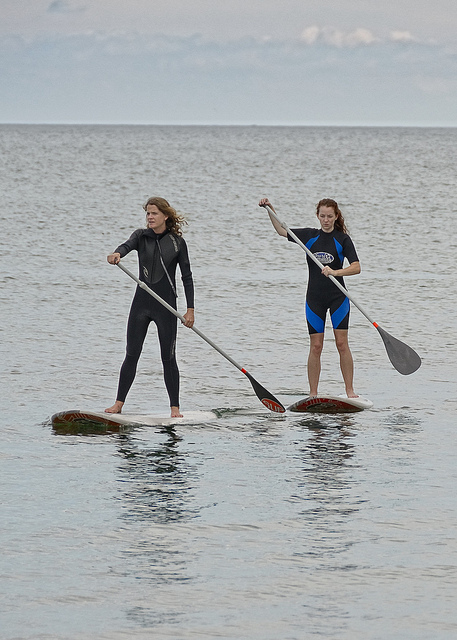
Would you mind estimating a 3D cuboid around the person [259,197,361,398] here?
[{"bbox_3d":[0.767,-0.173,9.161,0.725,1.672,0.900,1,9,2],"label":"person"}]

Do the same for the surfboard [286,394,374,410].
[{"bbox_3d":[0.836,0.660,8.715,0.689,0.149,0.318,1,8,2],"label":"surfboard"}]
